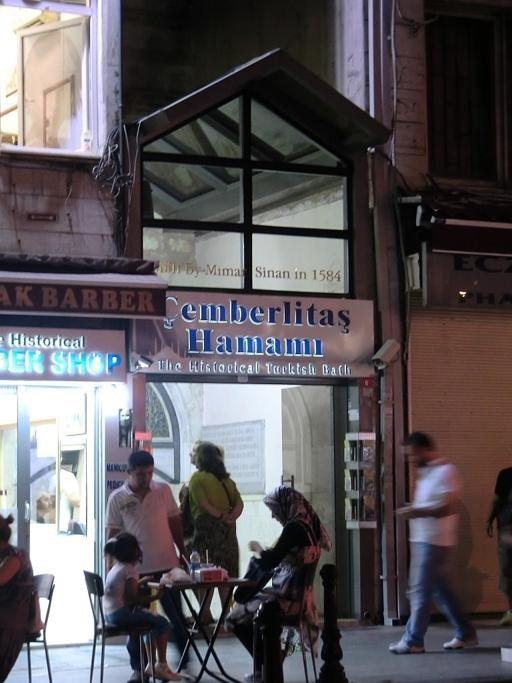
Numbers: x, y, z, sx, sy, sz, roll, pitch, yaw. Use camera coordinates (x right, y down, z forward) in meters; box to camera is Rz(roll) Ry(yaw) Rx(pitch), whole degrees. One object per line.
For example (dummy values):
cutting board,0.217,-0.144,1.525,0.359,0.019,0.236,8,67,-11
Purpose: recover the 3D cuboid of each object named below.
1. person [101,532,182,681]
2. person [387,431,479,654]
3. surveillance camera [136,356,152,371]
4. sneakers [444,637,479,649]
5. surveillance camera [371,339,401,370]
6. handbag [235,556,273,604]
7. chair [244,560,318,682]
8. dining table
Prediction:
person,-0.826,1.962,9.326,0.489,1.113,0.753,-2,-4,4
person,1.410,1.645,10.370,0.689,1.801,0.597,-1,-3,-12
surveillance camera,-0.991,0.197,11.525,0.170,0.125,0.122,-1,-4,-22
sneakers,1.680,2.505,10.524,0.270,0.144,0.112,4,-8,-12
surveillance camera,1.257,0.147,12.365,0.179,0.331,0.127,16,-34,46
handbag,-0.012,1.793,9.467,0.101,0.377,0.274,27,11,-30
chair,0.209,2.127,9.532,0.618,1.398,0.751,1,-13,-1
dining table,-0.469,2.160,9.660,0.627,1.019,0.945,5,-21,-16
